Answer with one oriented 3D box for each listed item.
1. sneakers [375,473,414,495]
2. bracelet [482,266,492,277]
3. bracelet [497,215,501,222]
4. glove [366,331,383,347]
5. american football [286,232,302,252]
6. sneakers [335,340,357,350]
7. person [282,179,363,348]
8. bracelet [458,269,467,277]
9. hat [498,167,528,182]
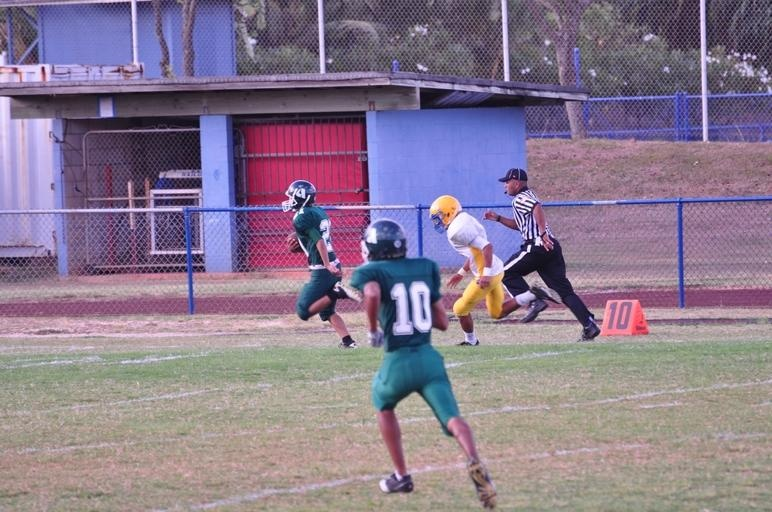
[{"bbox_3d":[0.127,3.883,22.561,0.587,0.263,0.284,3,0,3],"label":"sneakers"},{"bbox_3d":[1.993,0.317,26.719,0.203,0.160,0.185,-2,6,-11],"label":"bracelet"},{"bbox_3d":[2.326,-0.779,27.811,0.044,0.107,0.087,5,8,-11],"label":"bracelet"},{"bbox_3d":[-0.293,1.407,22.602,0.261,0.234,0.278,-1,8,-30],"label":"glove"},{"bbox_3d":[-2.000,-0.301,27.592,0.340,0.361,0.319,-8,-23,26],"label":"american football"},{"bbox_3d":[-0.877,1.855,27.746,0.429,0.165,0.146,6,9,20],"label":"sneakers"},{"bbox_3d":[-1.424,0.234,27.381,1.250,3.519,1.113,-3,15,-5],"label":"person"},{"bbox_3d":[1.521,0.345,27.063,0.172,0.100,0.155,-2,4,-3],"label":"bracelet"},{"bbox_3d":[2.593,-1.680,27.755,0.620,0.268,0.356,3,5,9],"label":"hat"}]
